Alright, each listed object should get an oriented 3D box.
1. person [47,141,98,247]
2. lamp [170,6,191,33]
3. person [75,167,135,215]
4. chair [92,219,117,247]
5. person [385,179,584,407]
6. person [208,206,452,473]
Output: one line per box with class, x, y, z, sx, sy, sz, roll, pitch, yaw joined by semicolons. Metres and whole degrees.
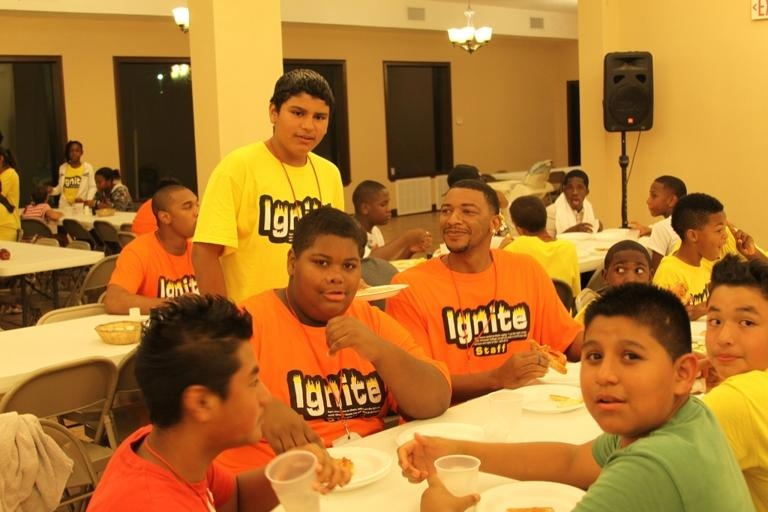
person;-5.147;-0.914;9.994;0.825;1.827;0.748;-2;25;-26
lamp;-3.118;-3.694;9.415;0.188;0.339;0.705;-5;10;-13
person;-4.311;-0.779;9.510;0.571;1.138;0.640;-1;10;2
chair;-3.502;-0.298;7.676;0.225;0.355;0.272;4;37;5
person;0.475;0.320;2.945;0.964;1.334;0.769;-3;-1;11
person;-0.192;0.545;2.362;0.855;1.353;0.821;1;-2;-19
